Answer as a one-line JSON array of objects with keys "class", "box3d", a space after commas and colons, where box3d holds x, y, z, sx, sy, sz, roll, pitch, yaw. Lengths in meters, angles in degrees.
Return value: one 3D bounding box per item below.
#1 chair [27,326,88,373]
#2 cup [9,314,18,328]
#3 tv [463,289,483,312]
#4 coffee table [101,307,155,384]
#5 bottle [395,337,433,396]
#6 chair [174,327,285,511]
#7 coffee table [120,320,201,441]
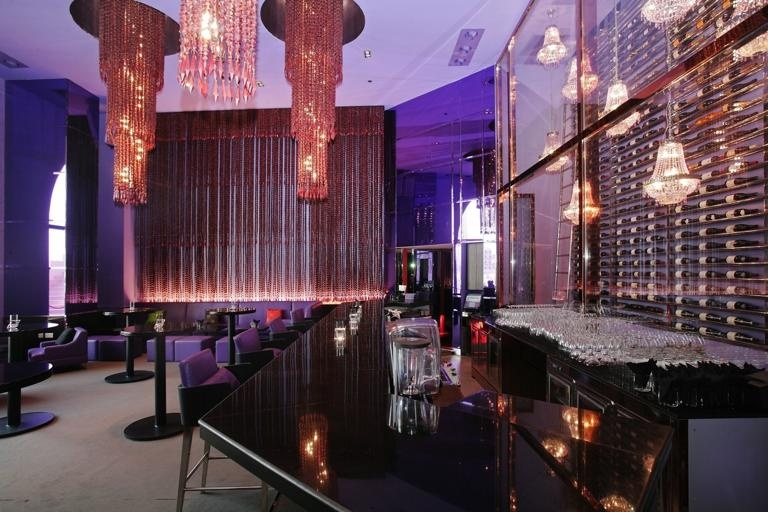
[{"class": "chair", "box3d": [-5.220, 1.502, 9.842, 0.824, 0.755, 0.840, 7, -9, -42]}, {"class": "cup", "box3d": [-5.105, 0.898, 8.417, 0.142, 0.157, 0.147, 0, -4, 0]}, {"class": "tv", "box3d": [1.587, 0.808, 11.055, 0.399, 0.457, 0.298, -2, -19, 38]}, {"class": "coffee table", "box3d": [-4.246, 1.514, 10.152, 0.871, 1.226, 0.863, 2, 2, -1]}, {"class": "bottle", "box3d": [0.247, 1.000, 5.658, 0.423, 0.543, 0.418, 1, -3, 0]}, {"class": "chair", "box3d": [-1.800, 1.804, 6.488, 0.953, 1.626, 0.958, -3, -2, 8]}, {"class": "coffee table", "box3d": [-2.826, 1.560, 8.027, 1.143, 1.483, 1.237, 1, 2, 3]}]
